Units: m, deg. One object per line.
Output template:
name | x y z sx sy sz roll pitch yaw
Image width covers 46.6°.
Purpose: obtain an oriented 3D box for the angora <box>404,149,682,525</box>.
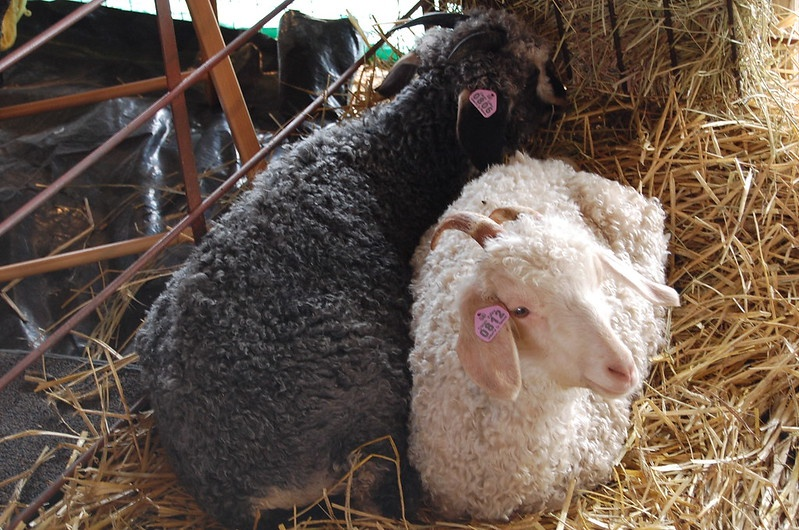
angora | 0.674 0.332 4.935 1.330 1.260 1.801 5 60 -1
